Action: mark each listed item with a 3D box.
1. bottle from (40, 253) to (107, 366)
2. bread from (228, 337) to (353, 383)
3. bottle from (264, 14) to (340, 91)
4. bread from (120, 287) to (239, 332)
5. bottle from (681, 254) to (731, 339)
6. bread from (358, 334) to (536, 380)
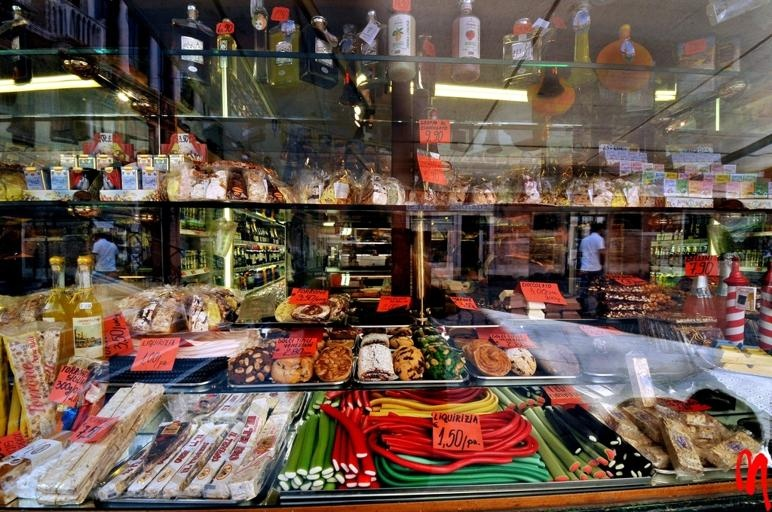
[{"bbox_3d":[-1.670,0.279,2.982,0.289,0.552,0.155,1,-5,-28],"label":"bottle"},{"bbox_3d":[-0.508,0.562,3.004,0.656,0.228,0.237,0,-4,-5],"label":"bread"},{"bbox_3d":[-0.493,-1.192,3.260,0.542,0.415,0.296,0,-6,-10],"label":"bottle"},{"bbox_3d":[-1.146,0.301,3.102,0.635,0.251,0.223,0,-4,-13],"label":"bread"},{"bbox_3d":[1.870,0.236,3.247,0.256,0.473,0.115,-3,-5,25],"label":"bottle"},{"bbox_3d":[0.277,0.568,3.013,0.668,0.091,0.342,2,8,-4],"label":"bread"}]
